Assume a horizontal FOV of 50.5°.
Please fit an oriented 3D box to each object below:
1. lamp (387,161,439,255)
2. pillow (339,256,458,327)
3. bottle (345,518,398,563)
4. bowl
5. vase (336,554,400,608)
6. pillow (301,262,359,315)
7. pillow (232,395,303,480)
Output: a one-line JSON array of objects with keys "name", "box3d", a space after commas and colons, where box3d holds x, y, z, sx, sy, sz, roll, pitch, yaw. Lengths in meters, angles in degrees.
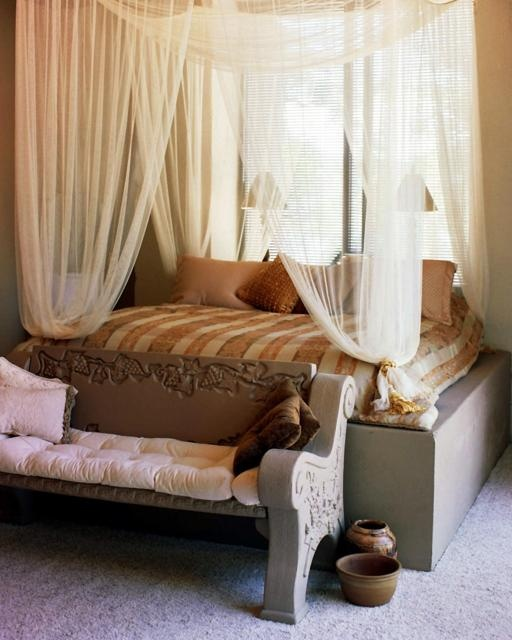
[{"name": "lamp", "box3d": [0.548, -0.387, 1.890, 0.079, 0.305, 0.229, 12, 19, 35]}, {"name": "pillow", "box3d": [0.565, -0.107, 2.163, 0.289, 0.072, 0.299, 0, 60, 21]}, {"name": "bottle", "box3d": [0.375, 0.711, 1.794, 0.135, 0.135, 0.137, -5, 7, -8]}, {"name": "bowl", "box3d": [0.341, 0.810, 1.692, 0.194, 0.112, 0.201, 1, -5, 0]}, {"name": "vase", "box3d": [0.344, 0.771, 1.669, 0.144, 0.083, 0.148, -6, 1, 35]}, {"name": "pillow", "box3d": [0.278, -0.128, 1.908, 0.169, 0.189, 0.045, 5, 23, 35]}, {"name": "pillow", "box3d": [0.036, 0.358, 1.729, 0.203, 0.193, 0.257, 2, 16, 5]}]
